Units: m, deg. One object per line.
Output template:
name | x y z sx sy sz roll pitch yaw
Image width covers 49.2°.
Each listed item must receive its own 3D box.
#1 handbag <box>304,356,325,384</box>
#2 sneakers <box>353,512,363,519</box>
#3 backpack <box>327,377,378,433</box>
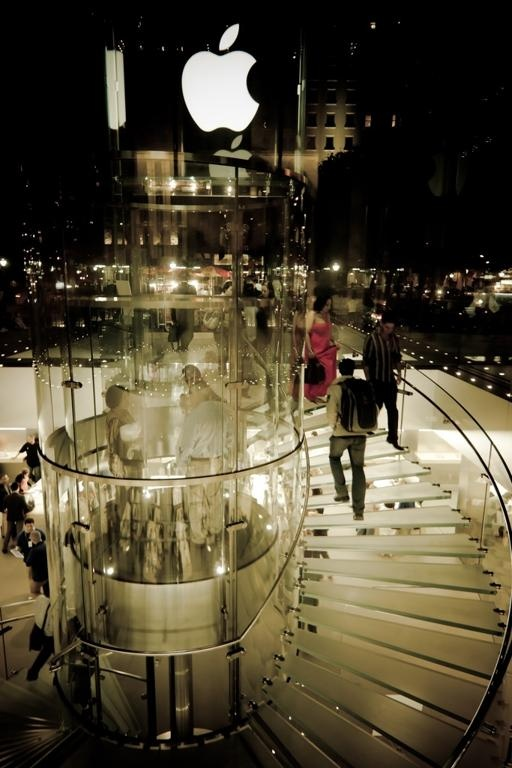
handbag | 0.808 -0.212 7.874 0.178 0.365 0.259 -8 18 -25
sneakers | 1.097 1.422 6.043 0.084 0.040 0.124 0 0 4
backpack | 0.972 0.241 5.702 0.492 0.615 0.237 0 6 9
